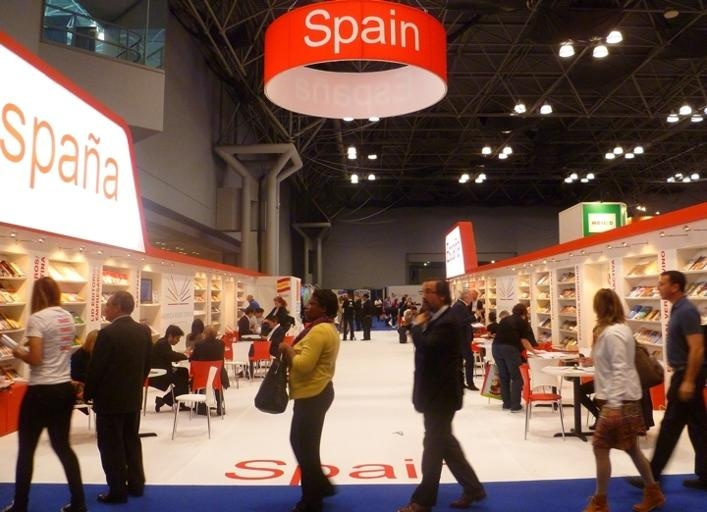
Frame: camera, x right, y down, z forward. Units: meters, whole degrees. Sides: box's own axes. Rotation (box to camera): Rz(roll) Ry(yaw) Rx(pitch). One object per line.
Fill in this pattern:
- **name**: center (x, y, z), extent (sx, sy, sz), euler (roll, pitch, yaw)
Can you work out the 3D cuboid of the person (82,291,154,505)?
- **person**: center (-2.079, 1.248, 4.687), extent (0.525, 1.855, 0.445), euler (3, -8, -23)
